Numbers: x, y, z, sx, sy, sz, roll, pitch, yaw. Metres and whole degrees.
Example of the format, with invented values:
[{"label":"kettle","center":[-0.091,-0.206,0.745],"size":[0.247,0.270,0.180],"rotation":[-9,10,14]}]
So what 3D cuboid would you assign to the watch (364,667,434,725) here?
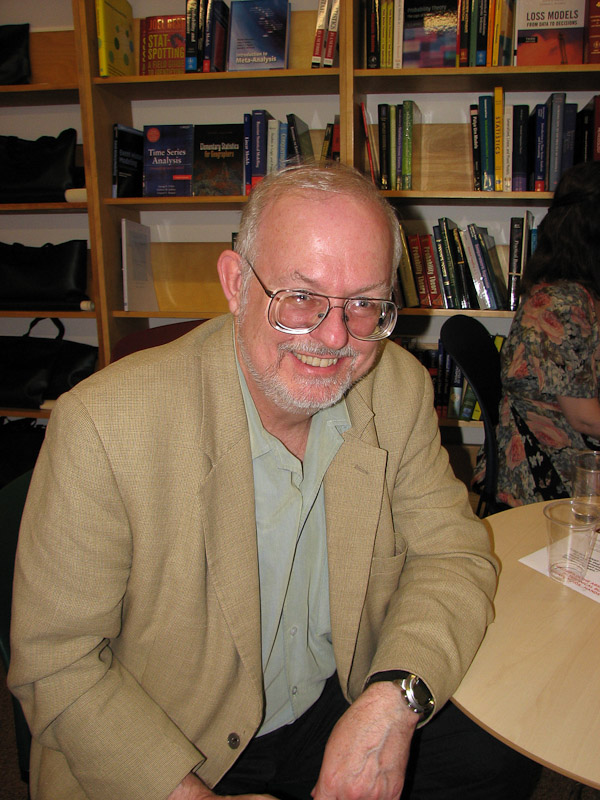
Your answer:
[{"label":"watch","center":[0.140,0.389,0.872],"size":[0.083,0.039,0.074],"rotation":[40,19,3]}]
